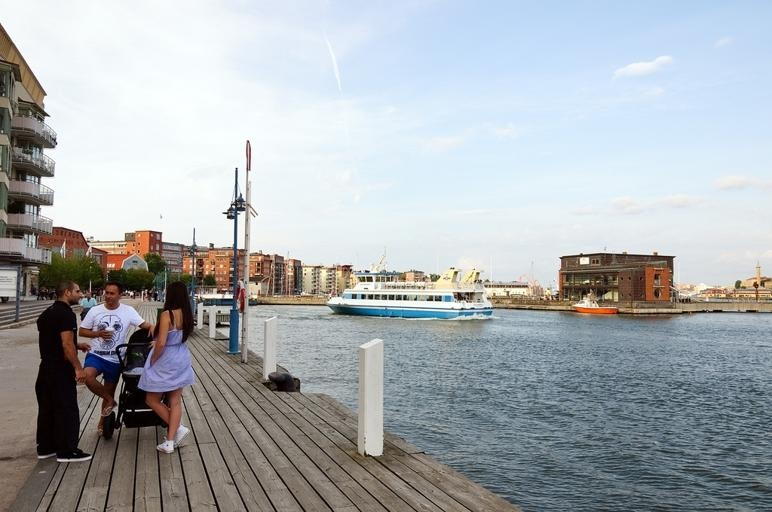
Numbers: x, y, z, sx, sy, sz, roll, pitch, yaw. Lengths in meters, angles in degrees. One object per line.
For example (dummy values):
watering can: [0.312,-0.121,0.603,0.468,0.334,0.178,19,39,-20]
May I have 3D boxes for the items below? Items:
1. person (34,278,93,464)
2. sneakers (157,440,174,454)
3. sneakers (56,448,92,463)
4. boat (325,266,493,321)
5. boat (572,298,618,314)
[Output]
person: [-6.007,2.143,10.950,0.990,3.387,0.473,6,-3,-14]
sneakers: [-4.174,3.665,11.259,0.456,0.188,0.160,5,-2,38]
sneakers: [-5.774,3.732,11.052,0.651,0.257,0.243,1,-1,-9]
boat: [3.650,4.309,74.275,18.102,4.596,7.636,0,-5,32]
boat: [33.291,8.167,93.163,2.114,2.295,6.474,0,0,-31]
